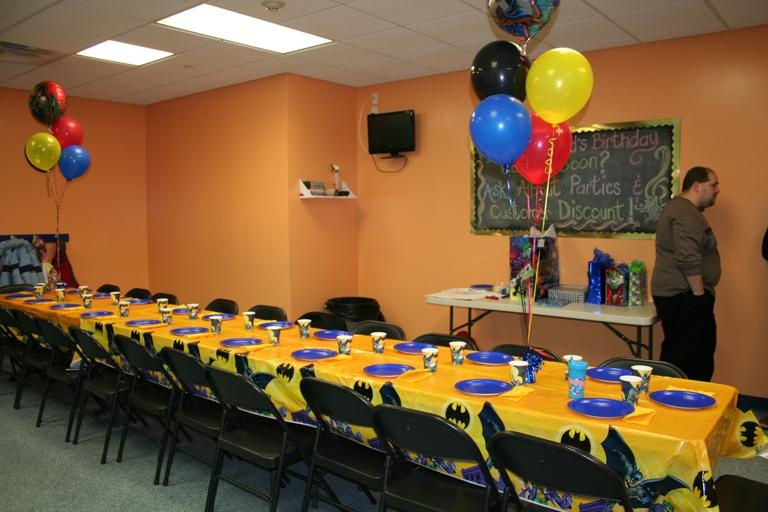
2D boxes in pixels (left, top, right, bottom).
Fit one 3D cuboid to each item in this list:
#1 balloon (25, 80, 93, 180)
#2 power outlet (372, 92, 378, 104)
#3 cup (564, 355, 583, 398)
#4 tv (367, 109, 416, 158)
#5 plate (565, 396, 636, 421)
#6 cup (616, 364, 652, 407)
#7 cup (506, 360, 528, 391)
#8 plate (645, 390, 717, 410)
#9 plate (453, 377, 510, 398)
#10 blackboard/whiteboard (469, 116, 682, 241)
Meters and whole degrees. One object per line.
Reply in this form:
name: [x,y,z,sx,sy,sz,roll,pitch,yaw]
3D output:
balloon: [-3.474,-1.281,5.950,0.675,1.078,0.353,-14,20,-28]
power outlet: [-0.116,-1.975,7.022,0.108,0.151,0.029,2,4,39]
cup: [1.165,0.723,3.437,0.113,0.229,0.280,0,3,19]
tv: [0.110,-1.465,6.794,0.725,0.549,0.128,4,12,36]
plate: [1.243,0.874,3.206,0.362,0.061,0.187,0,4,16]
cup: [1.477,0.767,3.330,0.207,0.153,0.209,0,0,0]
cup: [0.842,0.738,3.482,0.145,0.139,0.146,-1,8,0]
plate: [1.756,0.849,3.298,0.349,0.060,0.203,1,4,22]
plate: [0.614,0.808,3.460,0.325,0.050,0.242,1,4,25]
blackboard/whiteboard: [1.963,-0.794,6.093,0.020,1.223,2.306,16,-6,-41]
